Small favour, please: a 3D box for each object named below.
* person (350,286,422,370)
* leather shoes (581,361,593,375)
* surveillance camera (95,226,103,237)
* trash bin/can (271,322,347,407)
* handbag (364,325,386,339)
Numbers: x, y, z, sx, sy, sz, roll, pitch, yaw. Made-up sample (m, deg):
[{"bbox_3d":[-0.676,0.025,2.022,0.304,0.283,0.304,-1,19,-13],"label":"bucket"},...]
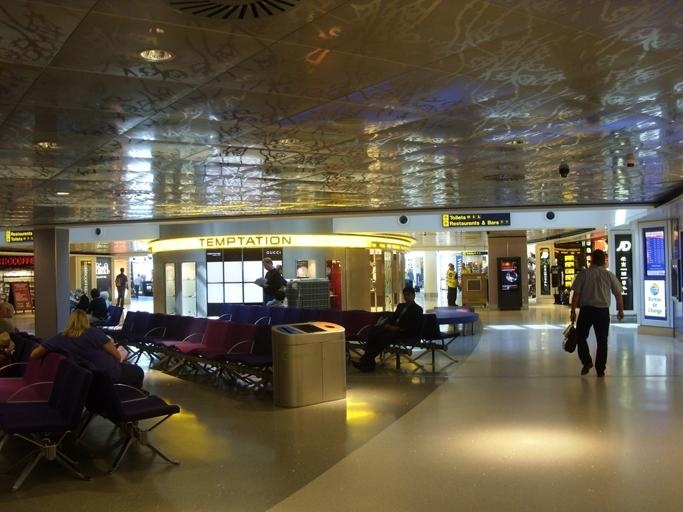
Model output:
[{"bbox_3d":[0.852,1.299,9.154,1.204,1.491,0.447,-3,0,2],"label":"person"},{"bbox_3d":[3.746,1.729,7.880,0.164,0.101,0.272,7,-36,-11],"label":"leather shoes"},{"bbox_3d":[-8.507,-0.867,17.980,0.408,0.277,0.080,-10,8,1],"label":"surveillance camera"},{"bbox_3d":[-0.451,1.496,7.067,0.991,1.135,0.417,-3,0,-34],"label":"trash bin/can"},{"bbox_3d":[0.561,1.370,9.208,0.288,0.306,0.256,-14,40,22],"label":"handbag"}]
